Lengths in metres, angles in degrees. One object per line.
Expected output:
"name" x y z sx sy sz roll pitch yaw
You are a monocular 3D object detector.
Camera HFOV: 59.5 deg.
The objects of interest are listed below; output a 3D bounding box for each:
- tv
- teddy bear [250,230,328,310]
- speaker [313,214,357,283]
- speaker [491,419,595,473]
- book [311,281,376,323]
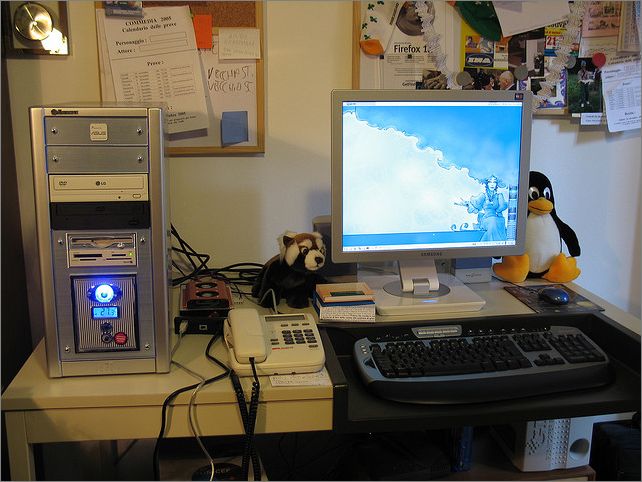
"tv" 0.288 -0.117 1.493 0.606 0.692 0.282 -1 6 -8
"teddy bear" -0.117 0.089 1.505 0.161 0.182 0.222 2 -2 -30
"speaker" 0.037 0.023 1.558 0.164 0.238 0.120 -1 21 -2
"speaker" 0.601 0.541 1.539 0.192 0.128 0.205 -3 13 -3
"book" 0.055 0.144 1.459 0.105 0.052 0.108 0 11 -6
